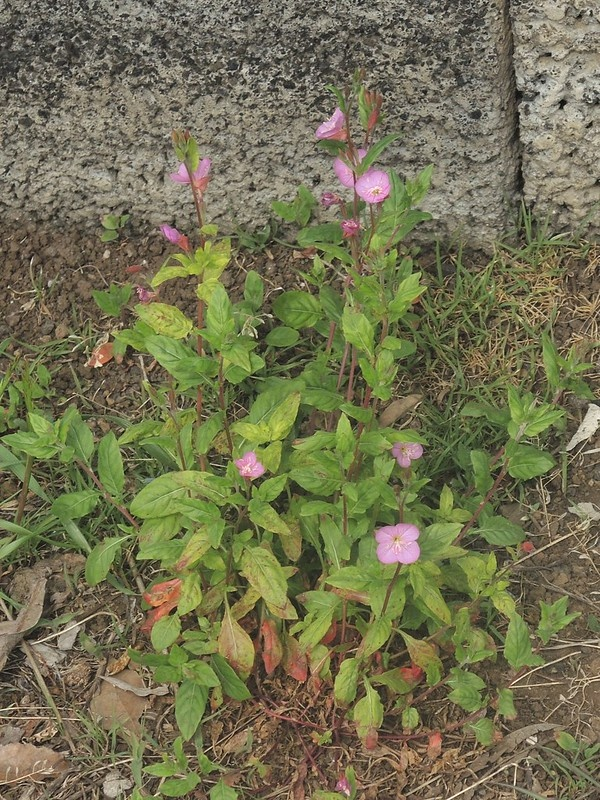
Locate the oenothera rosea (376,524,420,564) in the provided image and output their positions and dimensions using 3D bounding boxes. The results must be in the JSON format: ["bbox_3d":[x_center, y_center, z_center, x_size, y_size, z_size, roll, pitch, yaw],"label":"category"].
[{"bbox_3d":[0.197,0.284,1.564,0.083,0.075,0.071,-4,39,8],"label":"oenothera rosea"}]

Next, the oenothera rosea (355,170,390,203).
[{"bbox_3d":[0.163,-0.463,1.704,0.069,0.070,0.081,16,45,30],"label":"oenothera rosea"}]
